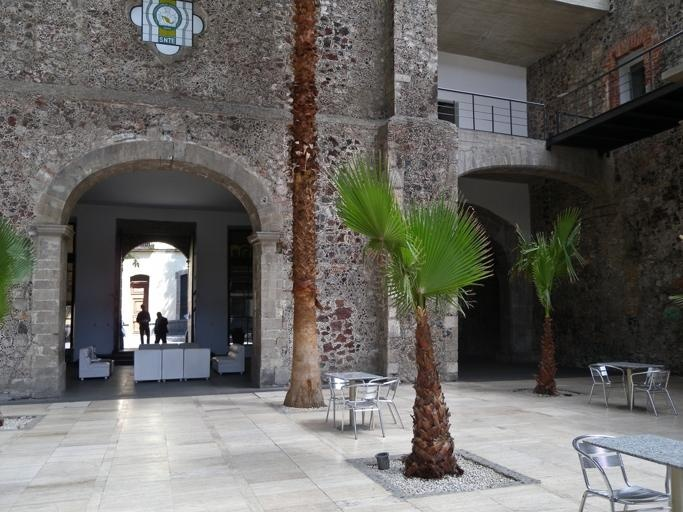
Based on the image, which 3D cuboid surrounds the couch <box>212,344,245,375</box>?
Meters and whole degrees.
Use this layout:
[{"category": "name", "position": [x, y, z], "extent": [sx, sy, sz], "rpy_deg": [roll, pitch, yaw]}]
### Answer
[{"category": "couch", "position": [-2.487, 2.314, 12.691], "extent": [0.552, 0.647, 0.828], "rpy_deg": [3, -7, -16]}]

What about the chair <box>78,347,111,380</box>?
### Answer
[{"category": "chair", "position": [-5.178, 2.249, 12.020], "extent": [0.592, 0.641, 0.733], "rpy_deg": [3, -9, -24]}]

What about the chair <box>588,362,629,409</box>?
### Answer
[{"category": "chair", "position": [4.260, 2.052, 9.213], "extent": [0.505, 0.620, 0.531], "rpy_deg": [-4, -10, 13]}]

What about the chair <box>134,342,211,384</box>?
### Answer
[{"category": "chair", "position": [-3.390, 2.155, 11.480], "extent": [1.446, 0.709, 0.641], "rpy_deg": [3, -8, -20]}]

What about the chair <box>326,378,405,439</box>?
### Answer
[{"category": "chair", "position": [0.299, 1.925, 7.562], "extent": [0.880, 0.624, 0.891], "rpy_deg": [2, -6, -17]}]

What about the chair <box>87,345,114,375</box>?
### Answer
[{"category": "chair", "position": [-5.193, 2.258, 12.346], "extent": [0.537, 0.689, 0.974], "rpy_deg": [0, -1, -15]}]
